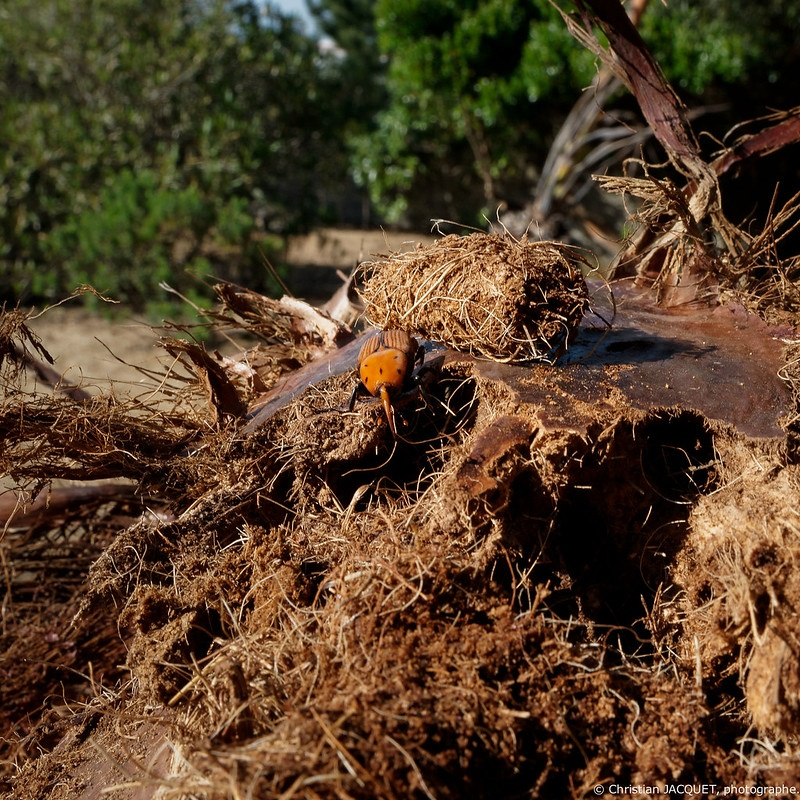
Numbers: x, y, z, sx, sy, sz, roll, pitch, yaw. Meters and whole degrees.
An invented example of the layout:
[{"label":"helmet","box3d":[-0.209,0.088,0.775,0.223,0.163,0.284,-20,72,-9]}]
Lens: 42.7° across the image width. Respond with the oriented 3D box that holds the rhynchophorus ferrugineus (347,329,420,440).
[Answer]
[{"label":"rhynchophorus ferrugineus","box3d":[-0.014,-0.070,3.641,0.273,0.137,0.379,-19,41,22]}]
